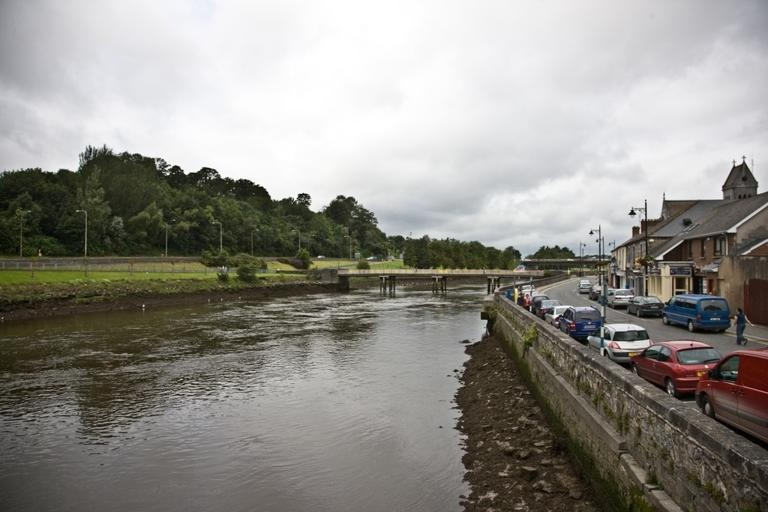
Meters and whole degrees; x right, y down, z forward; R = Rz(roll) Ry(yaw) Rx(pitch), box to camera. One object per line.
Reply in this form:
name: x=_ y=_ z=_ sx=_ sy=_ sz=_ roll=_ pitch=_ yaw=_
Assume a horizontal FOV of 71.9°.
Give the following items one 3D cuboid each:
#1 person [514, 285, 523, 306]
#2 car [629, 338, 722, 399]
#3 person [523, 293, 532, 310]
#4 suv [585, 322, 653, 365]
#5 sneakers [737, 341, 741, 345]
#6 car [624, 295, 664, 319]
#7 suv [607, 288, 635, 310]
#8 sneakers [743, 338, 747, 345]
person: x=14.323 y=4.227 z=55.842 sx=0.717 sy=1.484 sz=0.959 roll=5 pitch=1 yaw=-10
car: x=13.117 y=4.876 z=24.404 sx=2.664 sy=1.985 sz=4.437 roll=-4 pitch=9 yaw=-6
person: x=13.673 y=4.365 z=50.137 sx=0.957 sy=0.820 sz=1.654 roll=2 pitch=13 yaw=24
suv: x=12.529 y=5.103 z=27.605 sx=2.617 sy=1.905 sz=4.023 roll=-2 pitch=7 yaw=1
sneakers: x=20.392 y=5.003 z=30.253 sx=0.204 sy=0.127 sz=0.140 roll=-31 pitch=21 yaw=-37
car: x=21.598 y=4.219 z=43.156 sx=1.800 sy=1.767 sz=2.421 roll=0 pitch=10 yaw=6
suv: x=22.386 y=4.166 z=49.894 sx=1.463 sy=1.093 sz=3.145 roll=0 pitch=9 yaw=15
sneakers: x=20.743 y=4.938 z=30.249 sx=0.112 sy=0.157 sz=0.368 roll=-19 pitch=26 yaw=42
